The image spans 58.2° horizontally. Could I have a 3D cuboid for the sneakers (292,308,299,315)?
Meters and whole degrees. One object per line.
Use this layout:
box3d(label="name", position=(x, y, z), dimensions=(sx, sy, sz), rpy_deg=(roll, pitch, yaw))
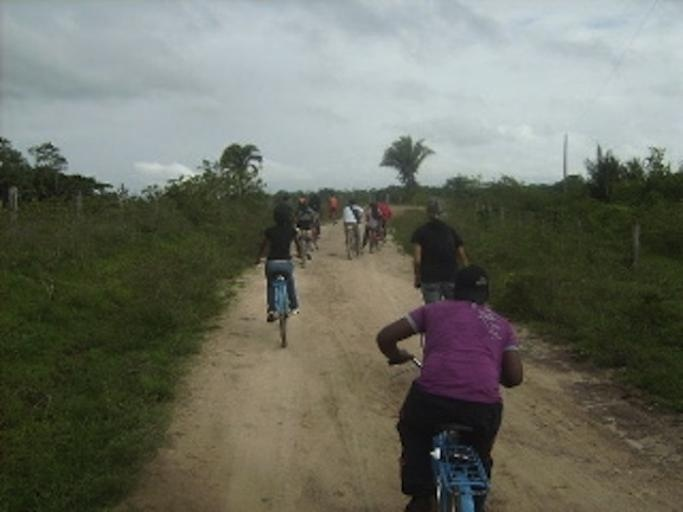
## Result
box3d(label="sneakers", position=(-0.853, 1.031, 11.506), dimensions=(0.106, 0.080, 0.158), rpy_deg=(2, -8, -23))

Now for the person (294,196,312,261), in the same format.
box3d(label="person", position=(-1.062, -0.892, 17.749), dimensions=(0.707, 1.210, 1.866), rpy_deg=(-1, 5, -1))

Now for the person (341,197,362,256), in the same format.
box3d(label="person", position=(0.333, -0.899, 19.429), dimensions=(0.685, 1.061, 1.568), rpy_deg=(-1, 16, 1))
